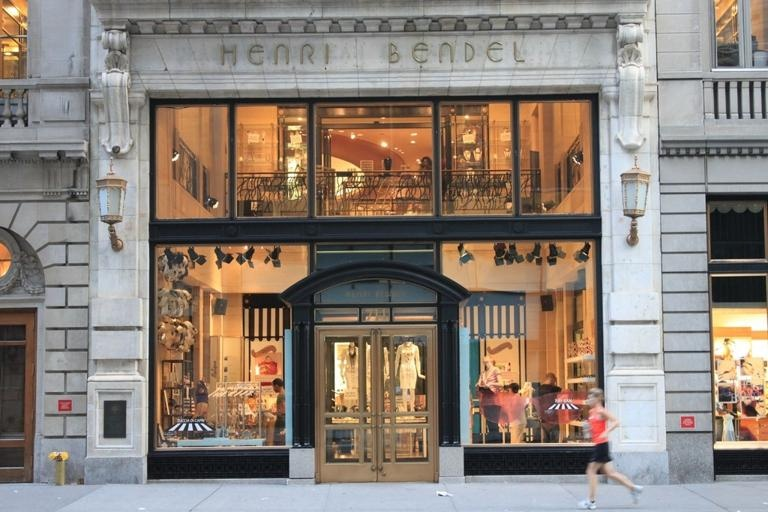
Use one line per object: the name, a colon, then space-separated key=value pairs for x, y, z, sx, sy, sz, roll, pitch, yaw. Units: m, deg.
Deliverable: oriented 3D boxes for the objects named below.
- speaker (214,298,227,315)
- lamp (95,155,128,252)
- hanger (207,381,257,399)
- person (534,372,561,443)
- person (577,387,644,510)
speaker: x=-3.783 y=1.167 z=42.520 sx=0.386 sy=0.354 sz=0.343 roll=-1 pitch=2 yaw=1
lamp: x=-6.225 y=-1.080 z=41.933 sx=0.643 sy=1.896 sz=0.578 roll=1 pitch=6 yaw=0
hanger: x=-3.466 y=3.085 z=42.369 sx=1.116 sy=0.374 sz=0.064 roll=-2 pitch=-10 yaw=5
person: x=3.830 y=3.476 z=42.292 sx=0.567 sy=1.567 sz=0.127 roll=-2 pitch=-10 yaw=4
person: x=4.806 y=4.160 z=39.799 sx=1.079 sy=2.620 sz=0.969 roll=-6 pitch=-11 yaw=26
